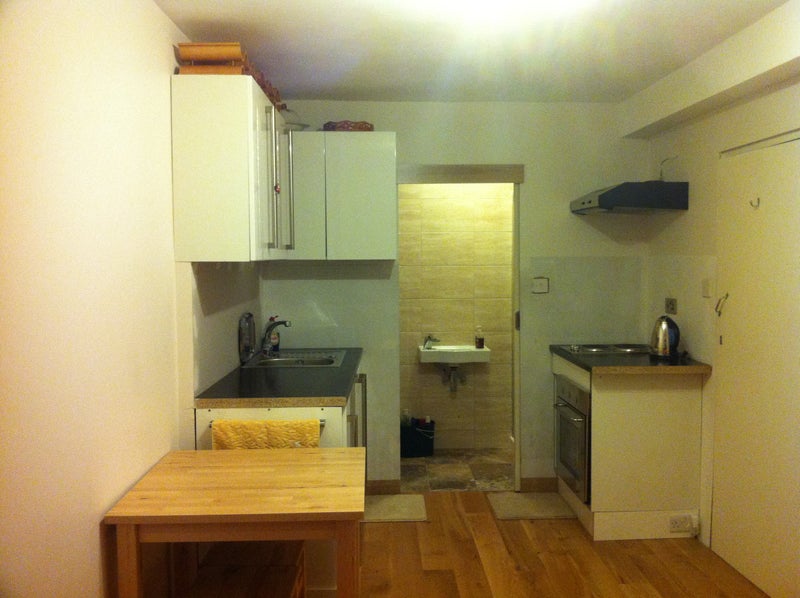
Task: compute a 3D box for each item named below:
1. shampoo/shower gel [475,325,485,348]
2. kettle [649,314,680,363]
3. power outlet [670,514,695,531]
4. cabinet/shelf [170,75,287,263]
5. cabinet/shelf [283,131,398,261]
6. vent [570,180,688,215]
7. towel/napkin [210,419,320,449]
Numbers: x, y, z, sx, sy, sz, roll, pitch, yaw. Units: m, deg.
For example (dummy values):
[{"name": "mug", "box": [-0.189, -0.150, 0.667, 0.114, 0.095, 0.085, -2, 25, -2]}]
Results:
[{"name": "shampoo/shower gel", "box": [0.609, 0.303, 5.729, 0.083, 0.237, 0.174, 0, 1, 14]}, {"name": "kettle", "box": [1.573, 0.241, 4.392, 0.148, 0.231, 0.142, 1, 15, 14]}, {"name": "power outlet", "box": [1.647, 1.297, 4.298, 0.099, 0.067, 0.014, -1, 1, 5]}, {"name": "cabinet/shelf", "box": [-0.857, -0.618, 3.563, 0.367, 0.773, 0.942, -1, 6, -3]}, {"name": "cabinet/shelf", "box": [-0.355, -0.615, 4.287, 0.763, 0.818, 0.429, 0, 4, 0]}, {"name": "vent", "box": [1.412, -0.612, 4.559, 0.591, 0.218, 0.449, -3, 14, -7]}, {"name": "towel/napkin", "box": [-0.649, 0.648, 3.531, 0.517, 0.130, 0.128, -3, 14, -3]}]
